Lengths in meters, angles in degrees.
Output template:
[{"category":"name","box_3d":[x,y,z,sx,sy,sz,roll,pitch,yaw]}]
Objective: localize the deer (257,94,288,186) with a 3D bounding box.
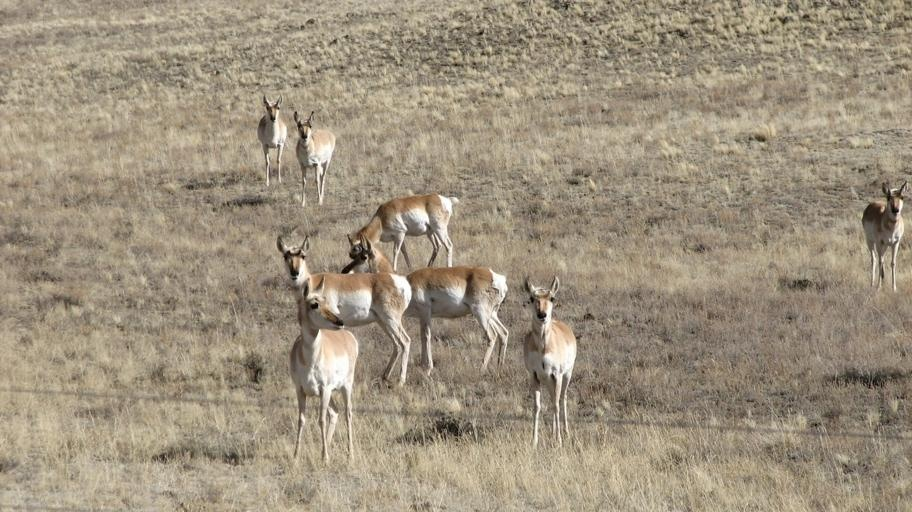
[{"category":"deer","box_3d":[-9.896,-6.480,73.342,1.453,4.198,3.657,-9,24,-5]}]

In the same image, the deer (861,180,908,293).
[{"category":"deer","box_3d":[20.622,-1.322,65.869,1.775,4.251,5.043,1,26,19]}]

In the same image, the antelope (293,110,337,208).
[{"category":"antelope","box_3d":[-7.594,-5.961,72.440,2.218,4.643,5.857,-10,25,-5]}]

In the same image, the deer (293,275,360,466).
[{"category":"deer","box_3d":[-5.675,4.770,58.091,2.376,8.046,4.487,2,-2,-6]}]
